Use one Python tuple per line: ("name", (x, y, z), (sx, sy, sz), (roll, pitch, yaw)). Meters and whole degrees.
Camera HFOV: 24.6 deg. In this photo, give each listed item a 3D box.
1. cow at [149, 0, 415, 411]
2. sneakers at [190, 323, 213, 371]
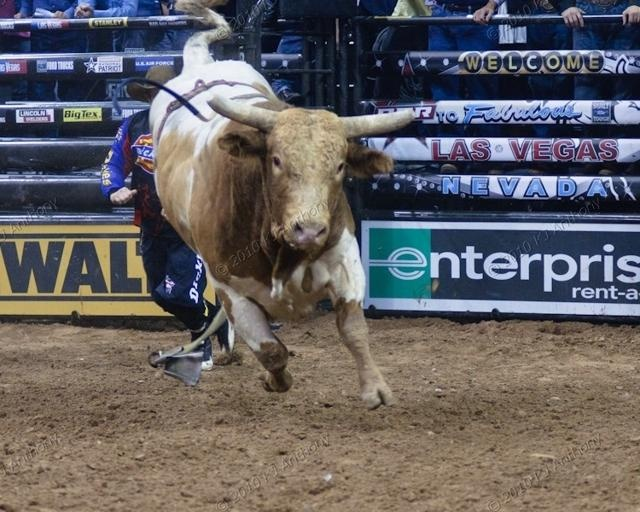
("cow", (-0.376, -0.191, 10.935), (1.216, 2.566, 2.329), (-6, 8, -20))
("sneakers", (-1.022, 0.739, 12.262), (0.150, 0.406, 0.290), (0, -30, 13))
